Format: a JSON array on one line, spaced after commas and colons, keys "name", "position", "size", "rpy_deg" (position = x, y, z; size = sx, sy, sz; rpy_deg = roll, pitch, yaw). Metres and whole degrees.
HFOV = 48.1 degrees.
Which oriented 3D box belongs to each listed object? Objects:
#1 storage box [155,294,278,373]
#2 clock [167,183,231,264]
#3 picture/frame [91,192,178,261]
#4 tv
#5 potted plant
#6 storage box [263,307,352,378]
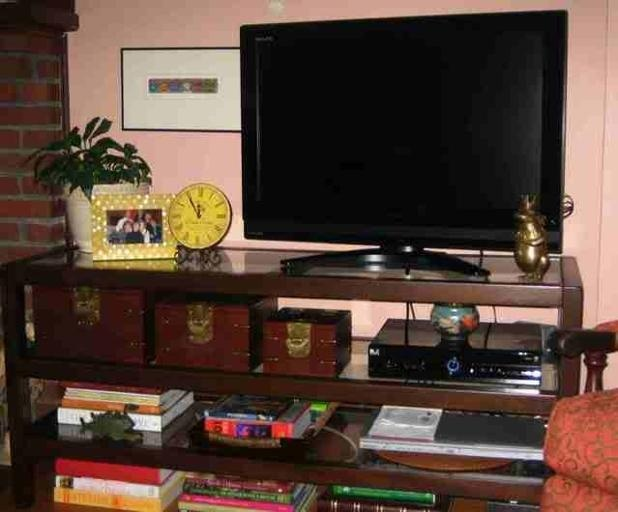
[{"name": "storage box", "position": [-0.332, 0.253, 2.296], "size": [0.267, 0.163, 0.261], "rpy_deg": [3, 6, 15]}, {"name": "clock", "position": [-0.391, -0.110, 2.440], "size": [0.285, 0.351, 0.049], "rpy_deg": [1, 8, 1]}, {"name": "picture/frame", "position": [-0.615, -0.108, 2.403], "size": [0.224, 0.186, 0.079], "rpy_deg": [-2, 8, -9]}, {"name": "tv", "position": [0.314, -0.368, 2.192], "size": [0.858, 0.616, 0.292], "rpy_deg": [2, 6, 17]}, {"name": "potted plant", "position": [-0.761, -0.315, 2.666], "size": [0.505, 0.510, 0.509], "rpy_deg": [3, 12, 12]}, {"name": "storage box", "position": [0.000, 0.257, 2.280], "size": [0.216, 0.139, 0.218], "rpy_deg": [2, 7, 13]}]
